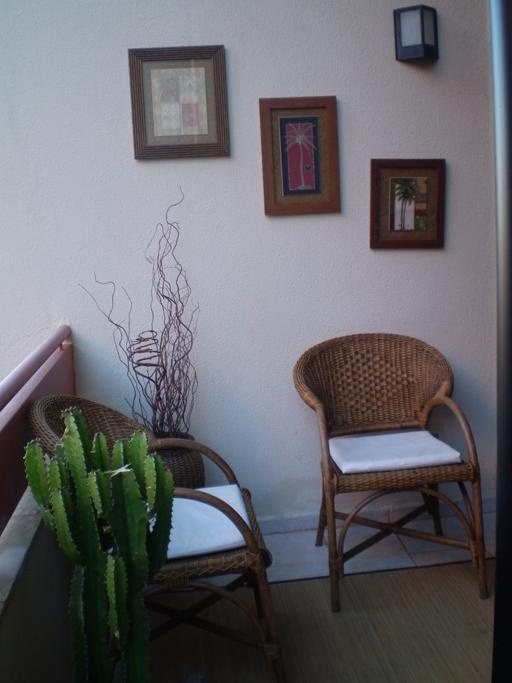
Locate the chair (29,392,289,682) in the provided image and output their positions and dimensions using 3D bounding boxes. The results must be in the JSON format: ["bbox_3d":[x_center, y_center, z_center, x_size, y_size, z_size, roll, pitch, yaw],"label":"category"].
[{"bbox_3d":[-0.299,0.548,1.663,0.588,0.826,0.778,-4,8,-12],"label":"chair"}]

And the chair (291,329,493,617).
[{"bbox_3d":[0.452,0.401,1.990,0.594,0.793,0.584,-3,8,-3],"label":"chair"}]
